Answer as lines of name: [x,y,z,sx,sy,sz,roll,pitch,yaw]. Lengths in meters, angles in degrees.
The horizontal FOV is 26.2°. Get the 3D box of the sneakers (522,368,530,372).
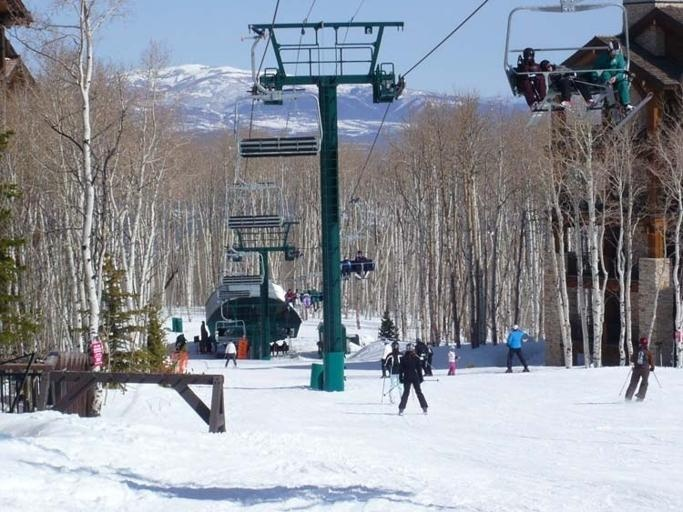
sneakers: [8.171,5.172,64.938,0.163,0.194,0.192,-1,-10,10]

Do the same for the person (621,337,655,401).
person: [11.474,4.477,56.419,0.955,2.441,0.779,-3,8,-31]

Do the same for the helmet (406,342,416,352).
helmet: [2.643,3.545,55.941,0.264,0.278,0.283,0,-8,5]

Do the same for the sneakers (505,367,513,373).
sneakers: [7.374,5.199,65.147,0.401,0.309,0.161,2,4,25]

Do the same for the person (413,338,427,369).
person: [3.354,4.116,62.140,0.528,1.048,0.256,7,5,35]
